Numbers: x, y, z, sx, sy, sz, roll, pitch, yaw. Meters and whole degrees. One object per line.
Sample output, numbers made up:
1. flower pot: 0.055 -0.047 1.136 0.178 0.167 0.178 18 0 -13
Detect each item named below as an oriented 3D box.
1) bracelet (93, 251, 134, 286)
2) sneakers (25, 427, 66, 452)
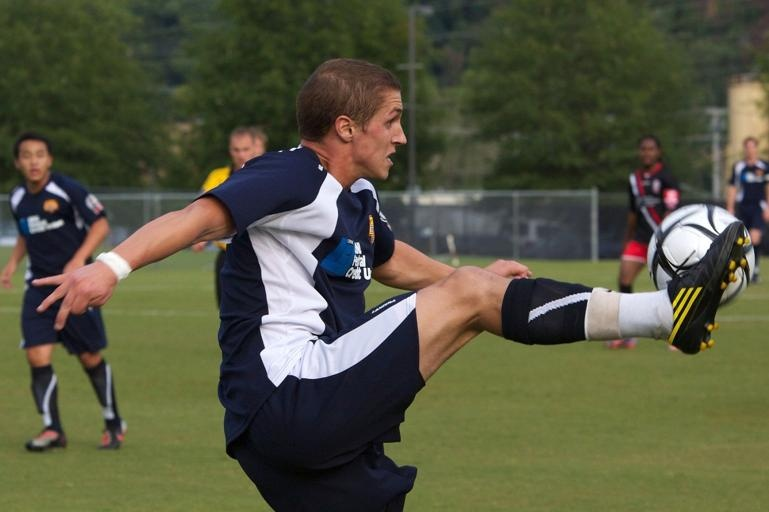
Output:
1. bracelet: -2.724 0.096 13.882 0.362 0.302 0.158 -1 7 -12
2. sneakers: -4.031 2.182 16.191 0.552 0.248 0.207 -2 -12 -5
